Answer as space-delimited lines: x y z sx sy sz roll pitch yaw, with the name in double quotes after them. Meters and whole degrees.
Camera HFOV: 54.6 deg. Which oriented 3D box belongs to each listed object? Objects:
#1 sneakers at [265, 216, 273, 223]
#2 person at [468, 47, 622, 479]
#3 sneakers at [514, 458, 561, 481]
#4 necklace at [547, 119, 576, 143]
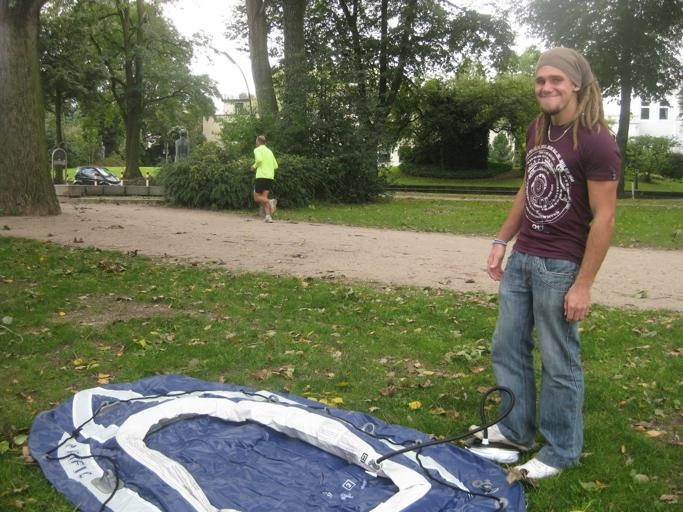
-1.911 -0.979 17.236 0.231 0.193 0.393 -1 10 -8 "sneakers"
1.848 0.059 5.816 1.009 3.716 0.711 4 10 24 "person"
1.707 1.884 5.803 0.320 0.138 0.189 -13 3 2 "sneakers"
1.892 -1.061 5.784 0.102 0.133 0.211 -6 12 -34 "necklace"
